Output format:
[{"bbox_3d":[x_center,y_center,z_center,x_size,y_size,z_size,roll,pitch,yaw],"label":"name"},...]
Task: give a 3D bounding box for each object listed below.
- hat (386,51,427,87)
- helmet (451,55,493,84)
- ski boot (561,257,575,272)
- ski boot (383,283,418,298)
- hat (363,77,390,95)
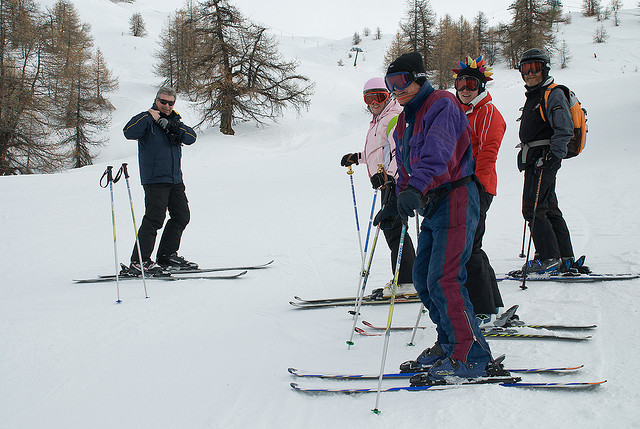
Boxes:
[{"bbox_3d":[1.337,-2.175,10.032,0.666,0.603,0.511,-10,10,-37],"label":"hat"},{"bbox_3d":[2.443,-2.430,10.919,0.589,0.418,0.686,-18,-2,-5],"label":"helmet"},{"bbox_3d":[4.386,0.873,11.584,0.257,0.249,0.191,5,-4,17],"label":"ski boot"},{"bbox_3d":[1.443,1.326,11.376,0.687,0.285,0.232,1,-4,6],"label":"ski boot"},{"bbox_3d":[0.941,-2.258,11.341,0.437,0.256,0.435,0,9,9],"label":"hat"}]
